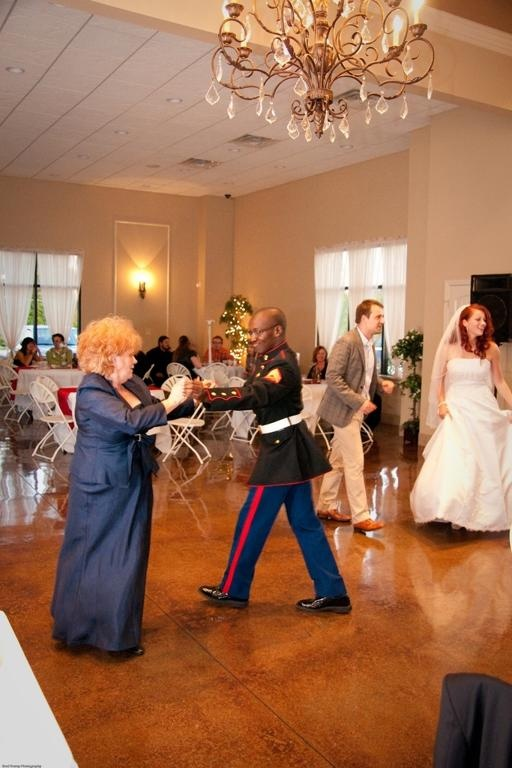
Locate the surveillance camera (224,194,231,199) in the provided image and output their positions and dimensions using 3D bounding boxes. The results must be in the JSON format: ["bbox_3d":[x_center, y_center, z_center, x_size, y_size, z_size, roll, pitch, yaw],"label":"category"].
[{"bbox_3d":[-0.679,-4.478,13.003,0.177,0.073,0.265,2,1,2],"label":"surveillance camera"}]

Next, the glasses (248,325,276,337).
[{"bbox_3d":[0.009,-0.248,2.652,0.070,0.038,0.146,1,1,-43],"label":"glasses"}]

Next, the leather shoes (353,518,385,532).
[{"bbox_3d":[0.897,1.127,4.261,0.201,0.095,0.111,-13,3,25],"label":"leather shoes"}]

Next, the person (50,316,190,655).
[{"bbox_3d":[-0.574,0.454,2.319,0.597,1.489,0.473,1,1,-15],"label":"person"}]

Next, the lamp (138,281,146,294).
[{"bbox_3d":[-2.681,-2.198,12.715,0.206,0.415,0.106,1,1,-22],"label":"lamp"}]

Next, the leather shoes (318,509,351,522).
[{"bbox_3d":[0.663,1.124,4.558,0.298,0.134,0.105,-2,-2,23],"label":"leather shoes"}]

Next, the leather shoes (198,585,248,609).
[{"bbox_3d":[-0.187,1.144,2.963,0.260,0.112,0.102,16,-5,7],"label":"leather shoes"}]
